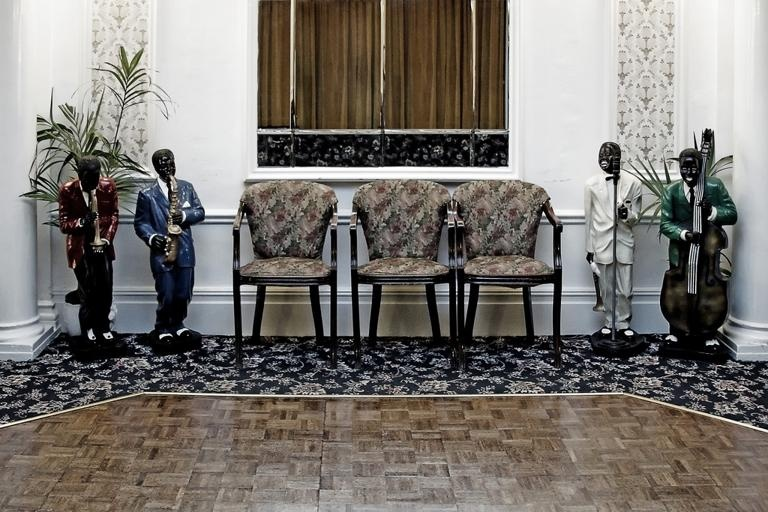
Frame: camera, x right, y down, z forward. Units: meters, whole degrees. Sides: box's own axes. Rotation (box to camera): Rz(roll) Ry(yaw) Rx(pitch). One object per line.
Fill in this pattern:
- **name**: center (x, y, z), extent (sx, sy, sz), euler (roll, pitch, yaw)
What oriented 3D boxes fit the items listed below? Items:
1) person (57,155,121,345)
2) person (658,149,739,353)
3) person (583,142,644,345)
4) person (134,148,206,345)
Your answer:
- **person**: center (-2.270, -0.047, 5.112), extent (0.419, 1.466, 0.317), euler (-7, 15, -26)
- **person**: center (2.425, -0.022, 5.116), extent (0.557, 1.588, 0.434), euler (6, 15, 23)
- **person**: center (1.862, -0.083, 5.286), extent (0.518, 1.616, 0.609), euler (3, 14, 13)
- **person**: center (-1.704, -0.083, 5.258), extent (0.514, 1.488, 0.314), euler (-6, 15, -22)
